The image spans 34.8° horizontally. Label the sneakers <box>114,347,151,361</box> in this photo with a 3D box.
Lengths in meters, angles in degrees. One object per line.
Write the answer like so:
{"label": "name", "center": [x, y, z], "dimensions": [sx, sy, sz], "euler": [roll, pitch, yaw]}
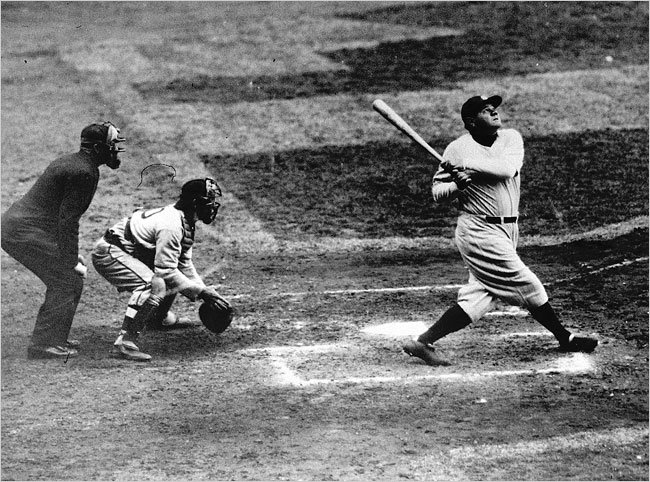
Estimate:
{"label": "sneakers", "center": [-1.860, 1.100, 10.004], "dimensions": [0.405, 0.145, 0.129], "euler": [5, 7, 6]}

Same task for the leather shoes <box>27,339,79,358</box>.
{"label": "leather shoes", "center": [-2.635, 1.038, 9.946], "dimensions": [0.446, 0.167, 0.161], "euler": [-1, 2, -10]}

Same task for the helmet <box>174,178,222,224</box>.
{"label": "helmet", "center": [-1.228, -0.457, 10.187], "dimensions": [0.514, 0.446, 0.382], "euler": [-12, 30, -31]}

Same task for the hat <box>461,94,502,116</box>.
{"label": "hat", "center": [1.431, -1.217, 9.558], "dimensions": [0.314, 0.102, 0.207], "euler": [-22, -8, 29]}

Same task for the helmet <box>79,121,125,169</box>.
{"label": "helmet", "center": [-2.212, -0.956, 10.081], "dimensions": [0.518, 0.460, 0.426], "euler": [-12, 26, -18]}

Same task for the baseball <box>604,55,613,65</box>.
{"label": "baseball", "center": [4.061, -2.593, 14.791], "dimensions": [0.123, 0.113, 0.117], "euler": [8, 26, 34]}
